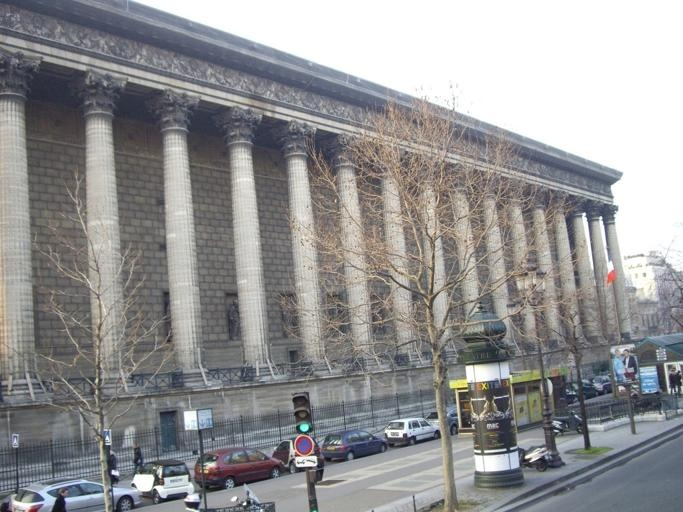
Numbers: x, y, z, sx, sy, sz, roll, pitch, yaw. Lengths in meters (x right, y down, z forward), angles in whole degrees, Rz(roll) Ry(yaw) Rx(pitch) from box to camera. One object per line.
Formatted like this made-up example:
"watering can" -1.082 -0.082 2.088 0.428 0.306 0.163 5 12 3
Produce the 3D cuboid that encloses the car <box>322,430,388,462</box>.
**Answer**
"car" 0.659 10.808 46.999 3.541 1.679 1.297 -1 -16 -29

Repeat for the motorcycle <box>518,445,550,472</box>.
"motorcycle" 8.963 9.365 37.845 1.489 0.984 0.833 -3 -15 17

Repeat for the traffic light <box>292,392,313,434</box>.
"traffic light" -1.399 5.544 29.079 0.590 1.512 1.205 -7 -14 -5

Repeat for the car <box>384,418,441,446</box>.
"car" 4.373 10.741 50.487 2.736 1.161 1.611 -1 -2 -41

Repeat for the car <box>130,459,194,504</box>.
"car" -8.977 10.995 40.336 1.761 1.438 2.746 6 -7 -42
